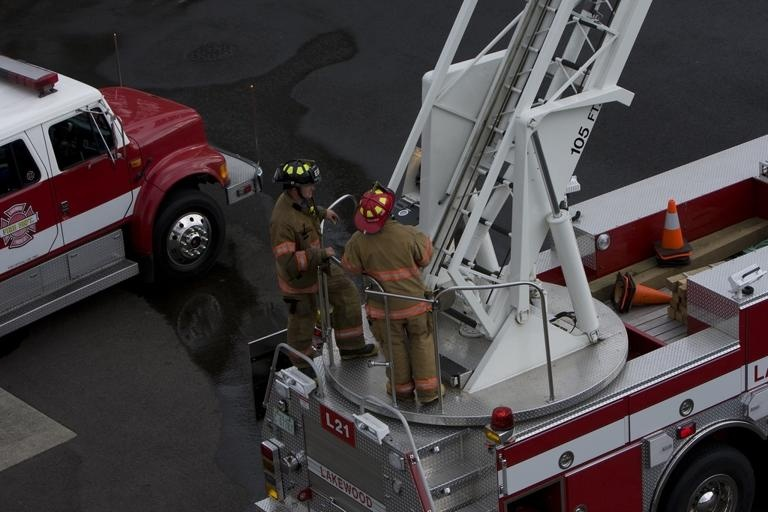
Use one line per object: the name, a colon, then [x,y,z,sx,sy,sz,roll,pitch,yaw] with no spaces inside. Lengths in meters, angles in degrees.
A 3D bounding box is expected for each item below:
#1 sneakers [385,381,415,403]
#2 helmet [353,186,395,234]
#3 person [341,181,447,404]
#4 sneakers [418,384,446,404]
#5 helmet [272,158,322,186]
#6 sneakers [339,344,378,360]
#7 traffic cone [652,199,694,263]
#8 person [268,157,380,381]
sneakers: [0.124,1.125,6.249,0.141,0.143,0.208,-15,21,-36]
helmet: [-0.077,-0.368,6.149,0.301,0.388,0.314,4,31,-6]
person: [0.084,0.324,6.465,0.714,1.844,0.689,-7,18,6]
sneakers: [0.377,1.132,6.158,0.080,0.160,0.210,14,31,34]
helmet: [-0.805,-0.729,7.076,0.368,0.179,0.291,0,46,-2]
sneakers: [-0.232,0.858,6.889,0.327,0.162,0.129,-17,8,-8]
traffic cone: [3.226,-0.269,8.494,0.428,0.644,0.493,-5,34,9]
person: [-0.621,0.216,7.531,0.904,2.434,1.251,-2,53,4]
